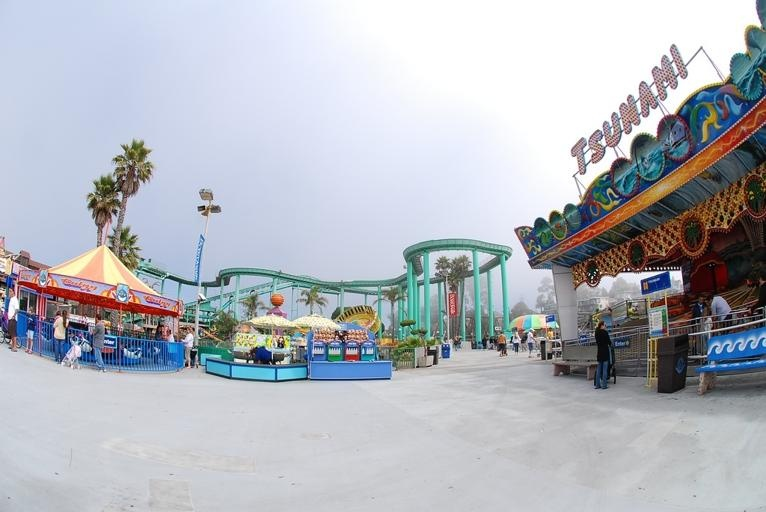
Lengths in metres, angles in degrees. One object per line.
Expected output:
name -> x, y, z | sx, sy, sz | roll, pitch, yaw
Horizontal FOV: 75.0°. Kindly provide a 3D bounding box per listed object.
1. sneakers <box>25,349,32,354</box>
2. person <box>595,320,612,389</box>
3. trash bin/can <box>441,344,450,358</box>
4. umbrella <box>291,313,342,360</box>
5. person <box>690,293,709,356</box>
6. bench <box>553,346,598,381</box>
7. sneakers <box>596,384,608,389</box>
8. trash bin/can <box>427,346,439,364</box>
sneakers -> -12.536, 3.377, 17.604 | 0.515, 0.215, 0.164 | -12, -13, 41
person -> 7.017, 3.125, 15.800 | 0.503, 2.144, 0.840 | 2, 0, 25
trash bin/can -> 4.270, 6.539, 34.181 | 0.607, 0.801, 1.110 | -2, -9, 8
umbrella -> -3.871, 4.084, 28.511 | 2.322, 1.775, 2.270 | 5, 4, -6
person -> 10.013, 2.207, 15.606 | 0.493, 2.071, 0.523 | 28, -29, -14
bench -> 7.104, 3.795, 18.115 | 0.981, 1.264, 1.500 | -2, -5, -34
sneakers -> 6.858, 4.097, 15.565 | 0.400, 0.177, 0.133 | 4, -9, -18
trash bin/can -> 2.891, 5.655, 28.201 | 0.728, 1.125, 0.785 | -8, -9, 43
